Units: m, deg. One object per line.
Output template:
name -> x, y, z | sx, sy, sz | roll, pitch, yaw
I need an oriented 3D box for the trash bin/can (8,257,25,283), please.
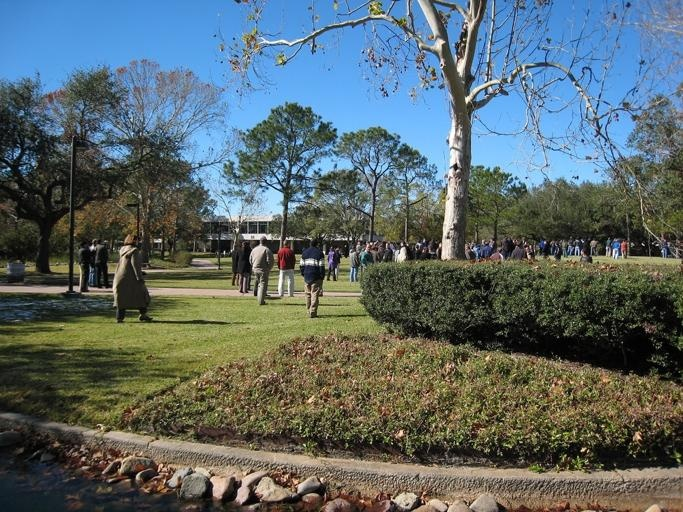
trash bin/can -> -13.196, 0.677, 23.356 | 0.643, 0.591, 0.680 | 2, -2, -41

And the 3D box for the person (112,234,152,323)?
person -> -4.463, 0.482, 12.273 | 0.702, 1.855, 0.696 | 1, -1, 6
